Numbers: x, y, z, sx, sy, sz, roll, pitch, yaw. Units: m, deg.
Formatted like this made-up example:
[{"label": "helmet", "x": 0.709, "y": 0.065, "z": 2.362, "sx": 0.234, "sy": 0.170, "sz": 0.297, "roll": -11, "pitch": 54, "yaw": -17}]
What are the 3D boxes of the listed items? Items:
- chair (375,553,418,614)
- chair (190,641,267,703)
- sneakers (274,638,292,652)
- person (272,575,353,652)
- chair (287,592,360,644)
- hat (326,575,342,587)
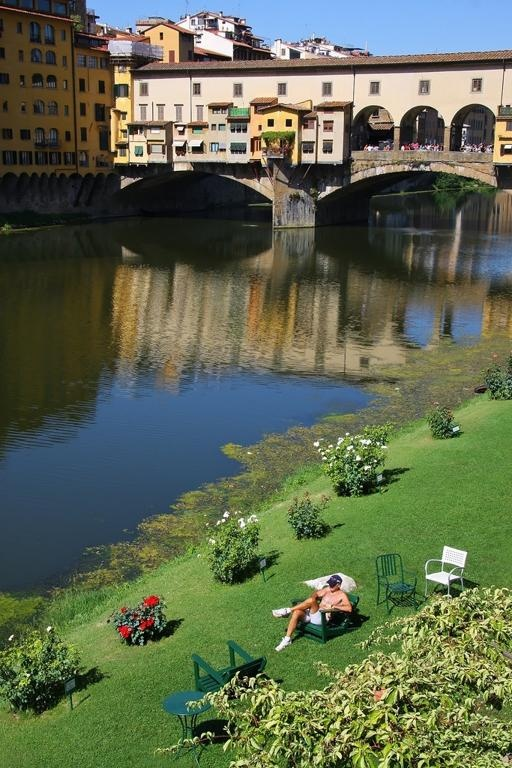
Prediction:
[{"label": "chair", "x": 1.979, "y": 2.836, "z": 10.213, "sx": 0.488, "sy": 0.732, "sz": 0.499, "roll": -2, "pitch": -3, "yaw": -14}, {"label": "chair", "x": -0.323, "y": 3.357, "z": 8.568, "sx": 0.855, "sy": 0.384, "sz": 1.495, "roll": -12, "pitch": -6, "yaw": -5}, {"label": "sneakers", "x": 0.338, "y": 3.369, "z": 9.355, "sx": 0.282, "sy": 0.126, "sz": 0.097, "roll": -13, "pitch": 19, "yaw": -39}, {"label": "person", "x": 0.732, "y": 3.070, "z": 9.608, "sx": 1.163, "sy": 0.665, "sz": 0.639, "roll": -4, "pitch": 6, "yaw": -35}, {"label": "chair", "x": 1.053, "y": 3.124, "z": 9.663, "sx": 0.751, "sy": 0.372, "sz": 0.452, "roll": -6, "pitch": 1, "yaw": -39}, {"label": "hat", "x": 1.080, "y": 2.670, "z": 9.741, "sx": 0.124, "sy": 0.092, "sz": 0.171, "roll": 4, "pitch": 10, "yaw": 31}]
